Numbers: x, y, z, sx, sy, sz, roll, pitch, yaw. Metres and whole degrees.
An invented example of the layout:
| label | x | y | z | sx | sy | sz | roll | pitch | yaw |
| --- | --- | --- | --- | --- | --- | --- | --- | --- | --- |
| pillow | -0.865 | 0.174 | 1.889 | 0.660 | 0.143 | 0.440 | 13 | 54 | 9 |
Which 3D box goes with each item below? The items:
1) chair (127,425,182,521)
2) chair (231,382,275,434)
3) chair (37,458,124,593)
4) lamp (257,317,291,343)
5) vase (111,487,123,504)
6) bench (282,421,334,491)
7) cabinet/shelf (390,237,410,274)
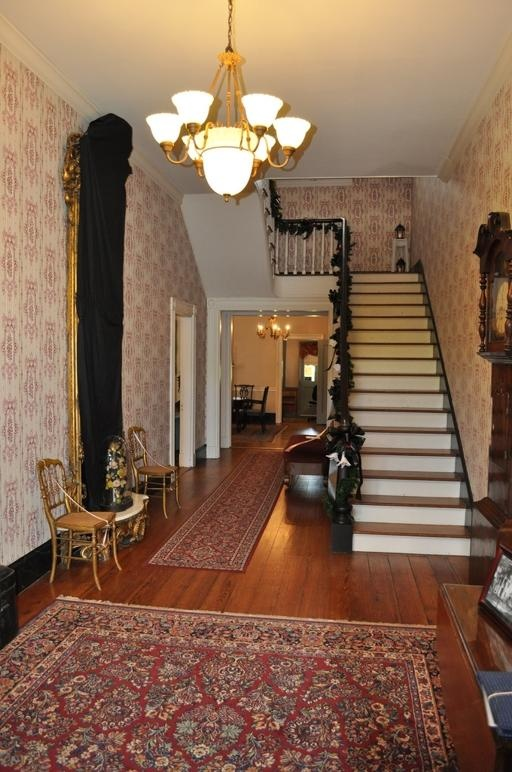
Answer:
| label | x | y | z | sx | sy | sz | roll | pitch | yaw |
| --- | --- | --- | --- | --- | --- | --- | --- | --- | --- |
| chair | -1.034 | 0.821 | 5.338 | 0.417 | 0.843 | 0.415 | -1 | 0 | 9 |
| chair | -0.161 | 0.527 | 12.830 | 0.941 | 1.452 | 1.009 | 2 | 9 | 14 |
| chair | -1.226 | 0.917 | 3.609 | 0.447 | 0.848 | 0.408 | 0 | 1 | 1 |
| lamp | 0.503 | -1.508 | 13.780 | 0.682 | 1.026 | 0.725 | 0 | 14 | -8 |
| vase | -1.065 | 0.852 | 4.039 | 0.078 | 0.110 | 0.115 | 1 | 1 | -7 |
| bench | 0.638 | 0.998 | 6.500 | 0.587 | 1.053 | 0.792 | 5 | -40 | 4 |
| cabinet/shelf | 2.614 | -2.361 | 9.494 | 0.284 | 0.656 | 0.716 | 1 | 0 | 17 |
